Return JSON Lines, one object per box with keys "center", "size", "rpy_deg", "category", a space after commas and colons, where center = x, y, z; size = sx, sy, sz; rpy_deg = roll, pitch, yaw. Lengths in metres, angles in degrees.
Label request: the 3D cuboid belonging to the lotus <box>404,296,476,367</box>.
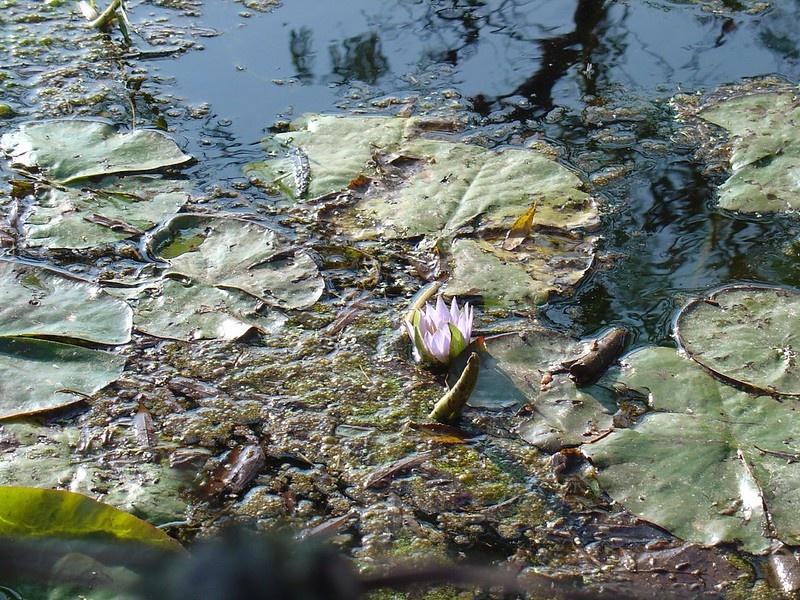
{"center": [0.112, 0.103, 2.962], "size": [0.228, 0.241, 0.127], "rpy_deg": [9, 36, 17], "category": "lotus"}
